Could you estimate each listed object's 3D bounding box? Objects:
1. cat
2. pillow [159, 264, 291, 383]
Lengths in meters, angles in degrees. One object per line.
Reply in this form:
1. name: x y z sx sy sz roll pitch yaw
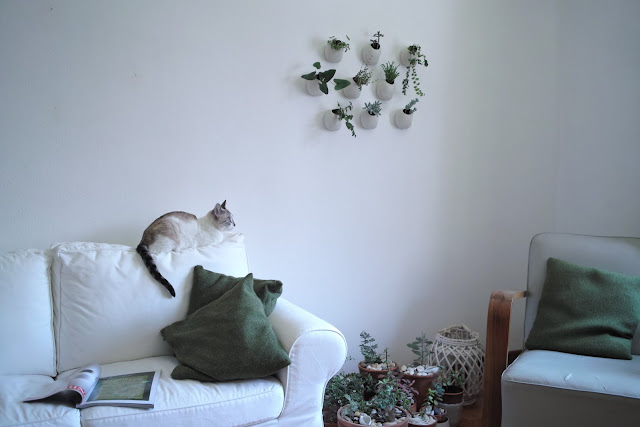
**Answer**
1. cat: -0.894 0.175 3.214 0.545 0.363 0.657 3 32 -37
2. pillow: -0.531 0.720 2.831 0.614 0.634 0.197 -7 -28 -2
